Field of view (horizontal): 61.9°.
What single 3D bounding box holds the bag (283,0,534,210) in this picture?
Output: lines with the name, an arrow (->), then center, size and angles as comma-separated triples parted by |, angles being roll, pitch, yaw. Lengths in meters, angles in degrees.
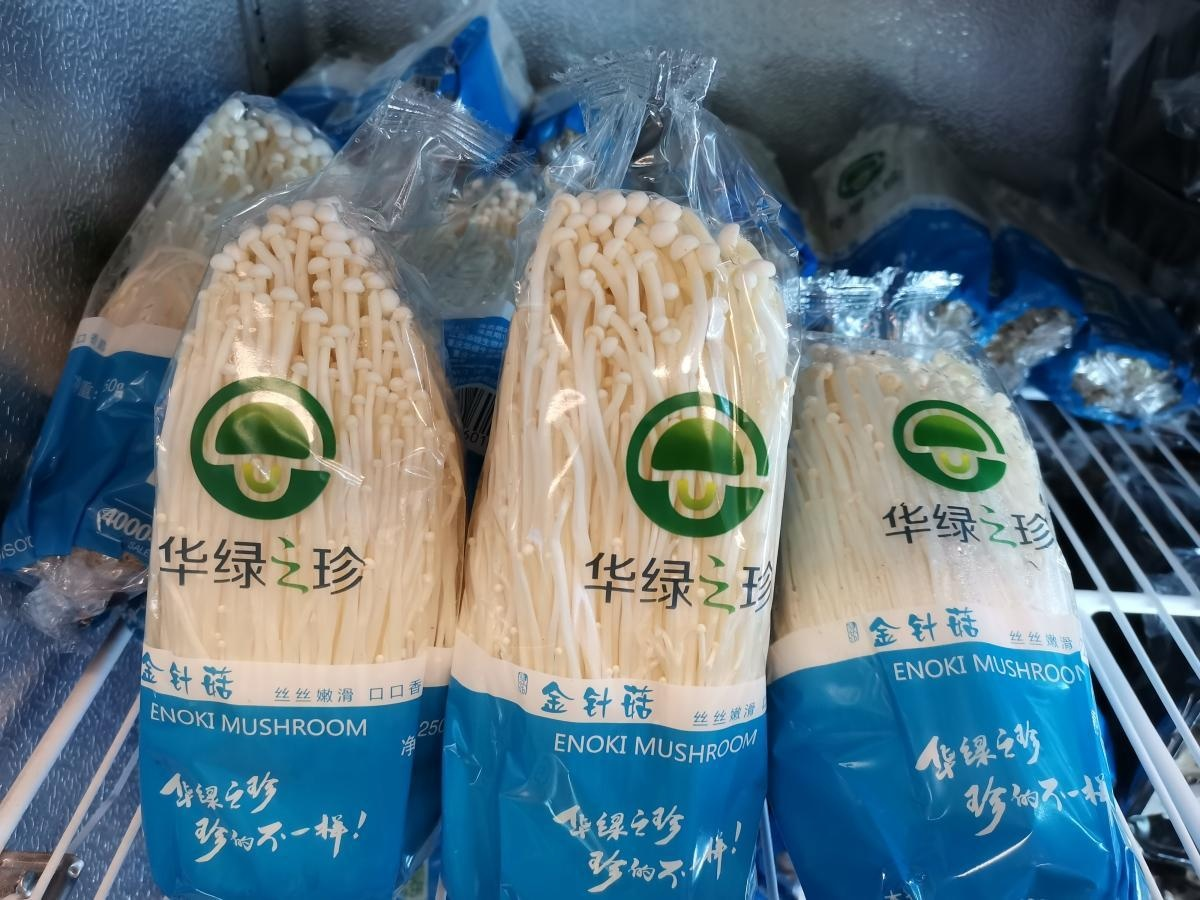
bag -> -0.232, -0.437, 1.260 | 0.239, 0.227, 0.098 | -29, -16, 7

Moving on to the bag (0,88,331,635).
bag -> -0.454, -0.182, 1.195 | 0.183, 0.764, 0.175 | 18, -17, -13
